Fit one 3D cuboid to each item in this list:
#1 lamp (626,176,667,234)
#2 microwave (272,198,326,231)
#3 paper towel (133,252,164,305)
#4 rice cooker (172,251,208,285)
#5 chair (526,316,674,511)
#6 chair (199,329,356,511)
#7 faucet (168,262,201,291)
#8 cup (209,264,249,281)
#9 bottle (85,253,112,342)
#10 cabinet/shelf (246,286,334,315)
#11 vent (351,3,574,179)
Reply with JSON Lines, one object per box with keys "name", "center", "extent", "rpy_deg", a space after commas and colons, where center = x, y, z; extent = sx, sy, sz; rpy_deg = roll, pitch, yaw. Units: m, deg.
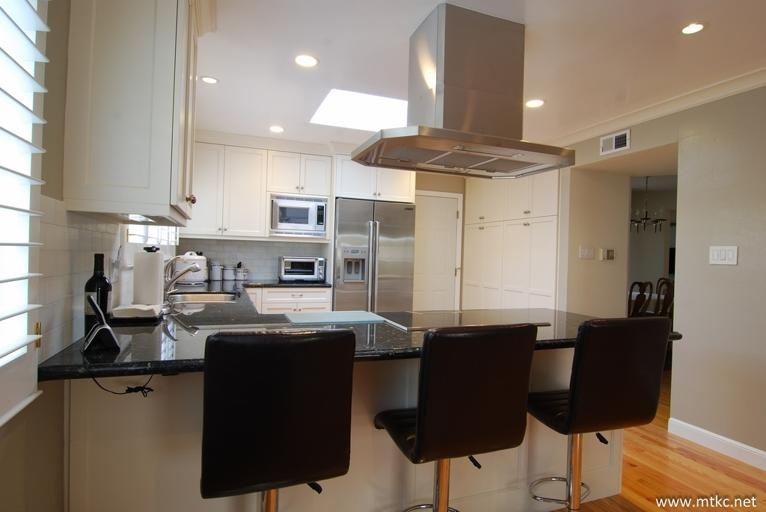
{"name": "lamp", "center": [4.122, -0.761, 8.593], "extent": [0.551, 0.846, 1.872], "rpy_deg": [3, -1, 26]}
{"name": "microwave", "center": [-0.892, -0.439, 5.967], "extent": [0.495, 0.320, 0.358], "rpy_deg": [1, -2, -18]}
{"name": "paper towel", "center": [-1.490, 0.137, 3.522], "extent": [0.178, 0.331, 0.220], "rpy_deg": [3, 0, -24]}
{"name": "rice cooker", "center": [-1.793, 0.118, 5.124], "extent": [0.330, 0.322, 0.333], "rpy_deg": [0, -3, 4]}
{"name": "chair", "center": [1.148, 0.632, 3.006], "extent": [0.695, 0.929, 0.381], "rpy_deg": [3, 0, 27]}
{"name": "chair", "center": [-0.490, 0.726, 2.888], "extent": [0.763, 1.278, 0.758], "rpy_deg": [1, -1, -12]}
{"name": "faucet", "center": [-1.768, 0.177, 4.890], "extent": [0.353, 0.094, 0.129], "rpy_deg": [-21, -35, 30]}
{"name": "cup", "center": [-1.657, 0.171, 5.925], "extent": [0.393, 0.188, 0.236], "rpy_deg": [3, 0, -17]}
{"name": "bottle", "center": [-1.526, 0.197, 2.961], "extent": [0.129, 0.422, 0.528], "rpy_deg": [3, 0, -27]}
{"name": "cabinet/shelf", "center": [-0.970, 0.449, 5.753], "extent": [0.880, 0.270, 0.197], "rpy_deg": [3, 0, -25]}
{"name": "vent", "center": [0.460, -0.931, 3.858], "extent": [1.128, 0.829, 1.120], "rpy_deg": [2, -2, -24]}
